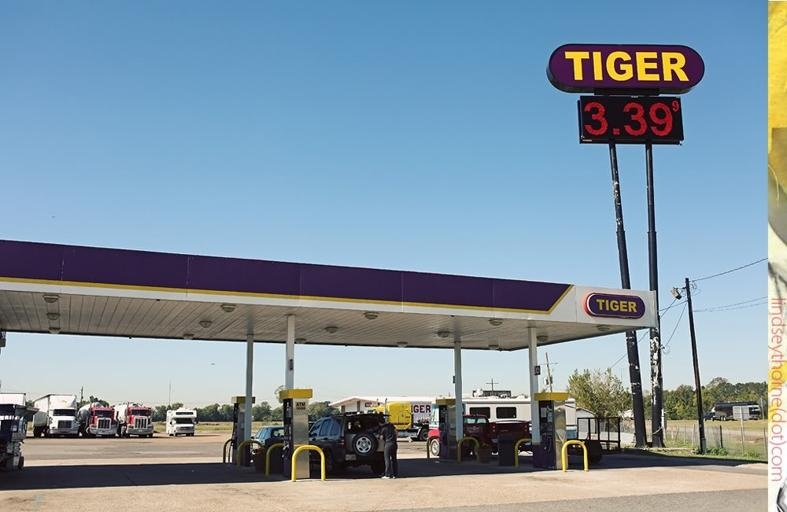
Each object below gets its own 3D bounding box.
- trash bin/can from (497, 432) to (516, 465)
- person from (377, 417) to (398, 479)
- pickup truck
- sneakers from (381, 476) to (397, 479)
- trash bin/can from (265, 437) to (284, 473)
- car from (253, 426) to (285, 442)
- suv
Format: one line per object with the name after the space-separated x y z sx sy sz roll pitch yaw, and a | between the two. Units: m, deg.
4.992 8.382 31.753 0.919 1.296 0.927 -7 -4 34 | trash bin/can
-0.156 7.034 26.450 0.526 1.960 0.849 0 -13 -4 | person
4.420 8.460 35.407 4.056 1.674 2.322 1 -13 -5 | pickup truck
-0.171 7.991 26.319 0.424 0.166 0.156 5 -8 -3 | sneakers
-4.521 7.619 27.673 0.712 1.185 0.420 5 -15 -26 | trash bin/can
-5.442 7.905 32.508 1.053 0.680 2.073 3 -8 -27 | car
-2.349 7.498 29.017 2.068 2.100 3.929 13 -18 -38 | suv
